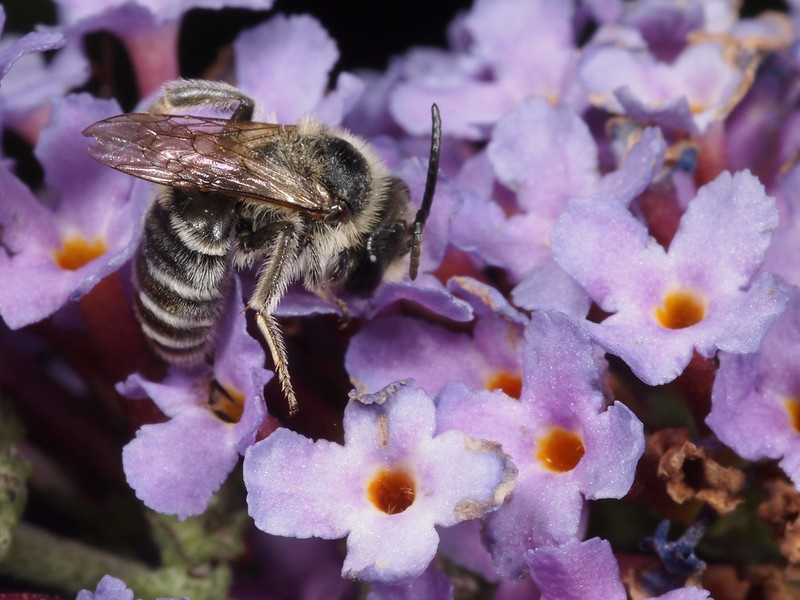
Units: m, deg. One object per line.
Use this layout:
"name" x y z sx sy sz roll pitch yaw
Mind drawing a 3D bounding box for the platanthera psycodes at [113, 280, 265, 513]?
"platanthera psycodes" -0.299 0.134 1.333 0.220 0.193 0.310 -17 61 -16

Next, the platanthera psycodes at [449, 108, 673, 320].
"platanthera psycodes" 0.223 -0.132 1.578 0.307 0.396 0.131 5 83 19

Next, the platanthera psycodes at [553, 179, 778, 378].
"platanthera psycodes" 0.358 -0.020 1.268 0.254 0.132 0.279 -15 45 17
